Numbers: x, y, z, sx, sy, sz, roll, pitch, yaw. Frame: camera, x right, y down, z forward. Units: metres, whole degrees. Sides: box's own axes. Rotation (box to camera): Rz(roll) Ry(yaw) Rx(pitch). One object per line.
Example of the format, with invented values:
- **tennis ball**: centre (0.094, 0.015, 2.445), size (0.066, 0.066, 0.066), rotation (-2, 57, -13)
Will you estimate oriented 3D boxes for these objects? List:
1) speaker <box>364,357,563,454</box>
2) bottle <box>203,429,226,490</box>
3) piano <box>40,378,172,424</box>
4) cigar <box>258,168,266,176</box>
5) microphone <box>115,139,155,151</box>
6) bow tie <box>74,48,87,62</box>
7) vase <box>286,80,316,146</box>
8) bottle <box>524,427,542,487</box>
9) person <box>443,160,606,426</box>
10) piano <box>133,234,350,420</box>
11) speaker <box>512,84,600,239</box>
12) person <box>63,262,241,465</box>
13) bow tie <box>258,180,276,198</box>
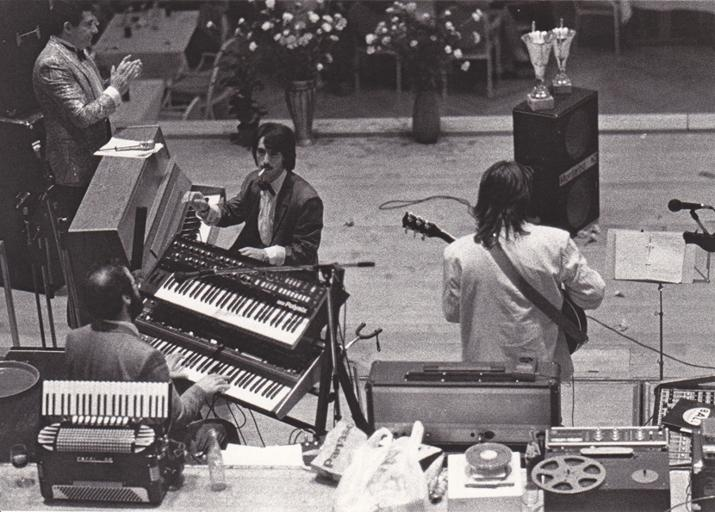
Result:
- **speaker**: centre (0.610, 0.868, 9.424), size (1.103, 0.500, 0.186), rotation (-1, 6, 5)
- **bottle**: centre (-0.828, 1.173, 9.347), size (0.105, 0.101, 0.315), rotation (-9, 56, -2)
- **piano**: centre (-1.438, 0.808, 9.223), size (0.725, 0.147, 0.227), rotation (3, 43, 1)
- **cigar**: centre (-0.668, -0.580, 11.047), size (0.014, 0.043, 0.050), rotation (24, -4, -31)
- **microphone**: centre (-1.626, -0.803, 11.778), size (0.319, 0.066, 0.099), rotation (-2, 17, 11)
- **bow tie**: centre (-2.056, -1.475, 11.855), size (0.039, 0.044, 0.124), rotation (36, 14, -7)
- **vase**: centre (-0.468, -1.200, 13.401), size (0.193, 0.459, 0.217), rotation (-25, 39, -33)
- **bottle**: centre (1.004, 1.141, 9.209), size (0.113, 0.289, 0.273), rotation (-1, 5, 6)
- **person**: centre (1.037, 0.178, 10.574), size (1.021, 1.699, 0.915), rotation (5, 30, 7)
- **piano**: centre (-0.711, 0.395, 10.790), size (1.632, 1.064, 0.650), rotation (21, -27, 12)
- **speaker**: centre (1.366, -0.746, 12.785), size (0.564, 1.060, 0.931), rotation (15, 29, 30)
- **person**: centre (-1.213, 0.700, 9.811), size (0.864, 1.242, 0.839), rotation (-15, 30, -33)
- **bow tie**: centre (-0.634, -0.460, 11.097), size (0.090, 0.047, 0.123), rotation (22, -19, 29)
